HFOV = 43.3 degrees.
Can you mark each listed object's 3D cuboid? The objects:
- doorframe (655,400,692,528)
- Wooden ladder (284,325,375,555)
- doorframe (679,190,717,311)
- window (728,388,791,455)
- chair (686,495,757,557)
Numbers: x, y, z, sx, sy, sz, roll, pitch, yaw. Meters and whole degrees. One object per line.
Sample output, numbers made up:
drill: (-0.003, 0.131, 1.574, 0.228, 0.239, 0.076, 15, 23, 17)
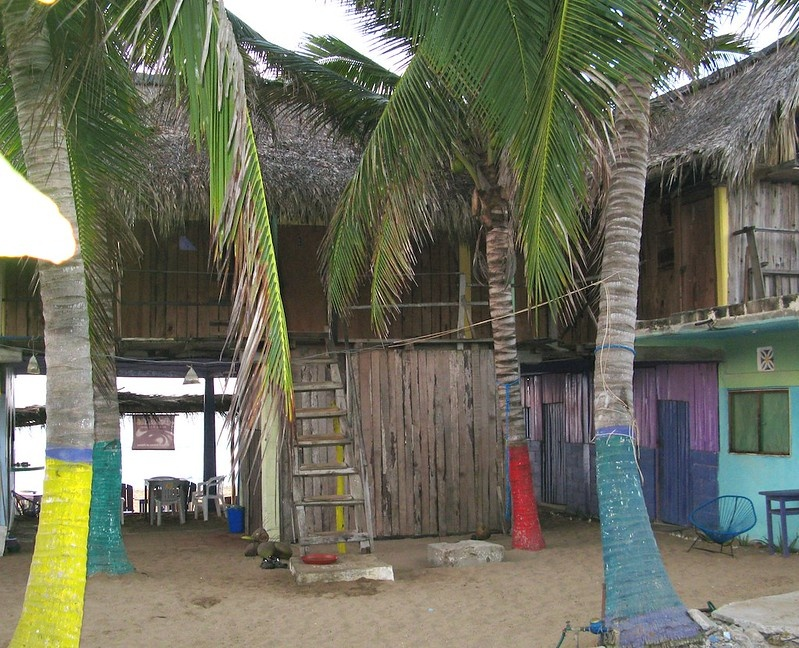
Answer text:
doorframe: (4.285, 2.099, 15.801, 0.576, 1.940, 0.140, 1, -4, -6)
Wooden ladder: (-0.920, 1.612, 13.198, 0.672, 2.400, 2.166, 0, -27, -6)
doorframe: (4.425, -1.029, 14.734, 0.117, 1.730, 0.765, 9, -13, -35)
window: (5.142, 1.348, 14.193, 0.120, 0.912, 0.841, -1, -1, -28)
chair: (4.608, 2.755, 14.337, 0.765, 0.912, 0.862, 2, -2, 41)
